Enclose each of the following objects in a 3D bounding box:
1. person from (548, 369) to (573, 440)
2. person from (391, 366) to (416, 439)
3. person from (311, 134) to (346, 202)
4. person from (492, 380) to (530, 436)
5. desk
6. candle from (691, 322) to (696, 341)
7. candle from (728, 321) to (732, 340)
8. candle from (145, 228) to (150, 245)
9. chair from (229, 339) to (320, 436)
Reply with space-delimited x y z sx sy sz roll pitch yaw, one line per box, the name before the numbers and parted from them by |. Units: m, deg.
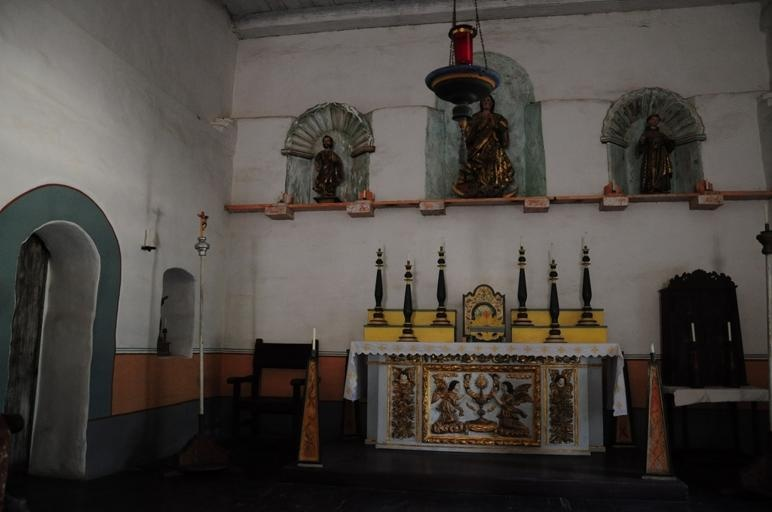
person | 2.384 2.026 11.070 0.314 0.946 0.100 -1 -8 12
person | 0.246 2.029 11.307 0.323 0.948 0.117 0 -8 2
person | -0.945 -1.421 13.409 0.453 1.229 0.563 -1 -8 7
person | 1.713 2.005 11.219 0.506 0.768 0.516 0 14 -6
desk | 4.823 2.505 11.793 1.396 0.999 0.887 -3 -20 14
candle | 4.587 1.125 12.168 0.079 0.280 0.034 4 -9 -22
candle | 5.094 1.106 12.095 0.065 0.302 0.047 0 -8 2
candle | -3.347 -0.271 11.520 0.018 0.206 0.076 -5 -10 32
chair | -1.828 2.158 12.959 1.333 1.939 1.376 -1 -16 5
